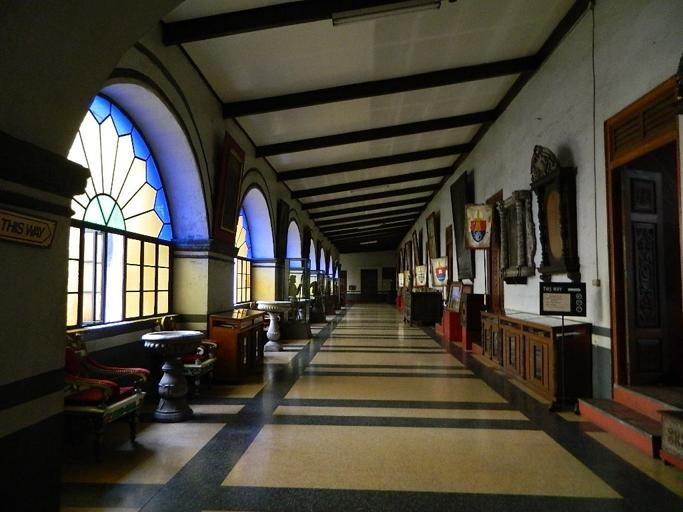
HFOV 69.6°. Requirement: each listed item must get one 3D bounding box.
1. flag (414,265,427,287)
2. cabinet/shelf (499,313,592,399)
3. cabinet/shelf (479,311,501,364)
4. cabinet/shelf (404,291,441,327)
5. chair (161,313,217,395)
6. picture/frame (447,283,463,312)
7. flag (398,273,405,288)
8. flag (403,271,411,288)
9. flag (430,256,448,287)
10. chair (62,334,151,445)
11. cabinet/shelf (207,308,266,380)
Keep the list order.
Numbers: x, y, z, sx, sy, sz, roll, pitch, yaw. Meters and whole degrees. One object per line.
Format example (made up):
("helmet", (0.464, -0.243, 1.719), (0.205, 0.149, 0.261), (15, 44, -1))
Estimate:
("flag", (2.636, 0.657, 16.352), (0.136, 0.979, 0.688), (8, -12, -27))
("cabinet/shelf", (2.530, 1.208, 6.149), (0.496, 0.925, 1.340), (0, 1, -6))
("cabinet/shelf", (2.364, 1.303, 7.819), (0.285, 0.799, 0.791), (1, -3, 3))
("cabinet/shelf", (2.302, 1.484, 13.799), (0.692, 0.872, 1.296), (1, -4, 4))
("chair", (-1.926, 1.236, 6.245), (0.689, 1.026, 0.716), (-8, -7, 25))
("picture/frame", (2.563, 0.887, 11.090), (0.337, 0.589, 1.394), (0, 1, 13))
("flag", (2.861, 1.145, 23.416), (0.108, 0.910, 0.728), (5, -8, -16))
("flag", (2.836, 0.970, 21.197), (0.124, 0.535, 0.524), (2, 3, -9))
("flag", (2.604, 0.409, 13.083), (0.114, 0.997, 0.711), (7, -11, -28))
("chair", (-2.281, 1.227, 4.535), (0.797, 1.022, 0.781), (0, -4, -9))
("cabinet/shelf", (-1.489, 1.286, 7.343), (0.402, 0.920, 1.481), (-1, -3, 6))
